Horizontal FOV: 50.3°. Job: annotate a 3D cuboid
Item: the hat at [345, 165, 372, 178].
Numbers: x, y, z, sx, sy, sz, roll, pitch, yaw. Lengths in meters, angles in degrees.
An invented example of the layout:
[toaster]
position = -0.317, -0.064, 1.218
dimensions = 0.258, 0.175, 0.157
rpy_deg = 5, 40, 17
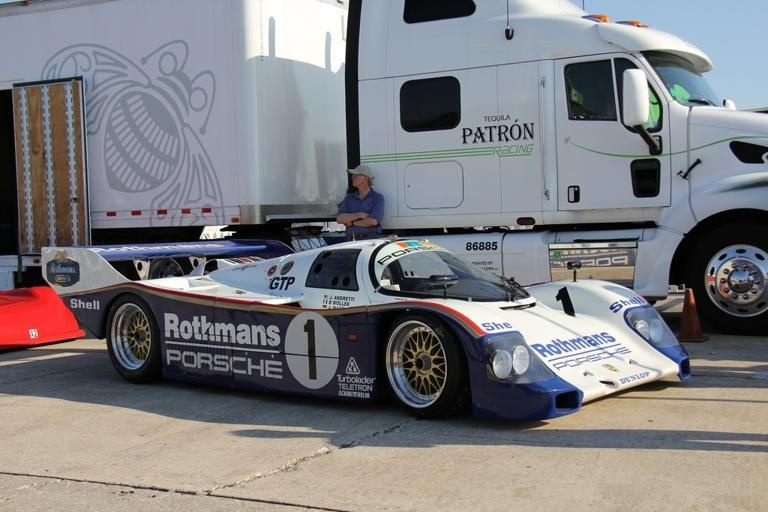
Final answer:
[hat]
position = -0.343, -1.150, 11.200
dimensions = 0.270, 0.098, 0.173
rpy_deg = 5, 3, 9

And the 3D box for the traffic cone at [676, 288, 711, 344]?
[traffic cone]
position = 3.755, 0.712, 10.153
dimensions = 0.480, 0.675, 0.473
rpy_deg = -2, -5, 23

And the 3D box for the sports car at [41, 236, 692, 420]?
[sports car]
position = -0.361, 0.711, 8.441
dimensions = 4.679, 1.239, 2.578
rpy_deg = 0, 3, 26
